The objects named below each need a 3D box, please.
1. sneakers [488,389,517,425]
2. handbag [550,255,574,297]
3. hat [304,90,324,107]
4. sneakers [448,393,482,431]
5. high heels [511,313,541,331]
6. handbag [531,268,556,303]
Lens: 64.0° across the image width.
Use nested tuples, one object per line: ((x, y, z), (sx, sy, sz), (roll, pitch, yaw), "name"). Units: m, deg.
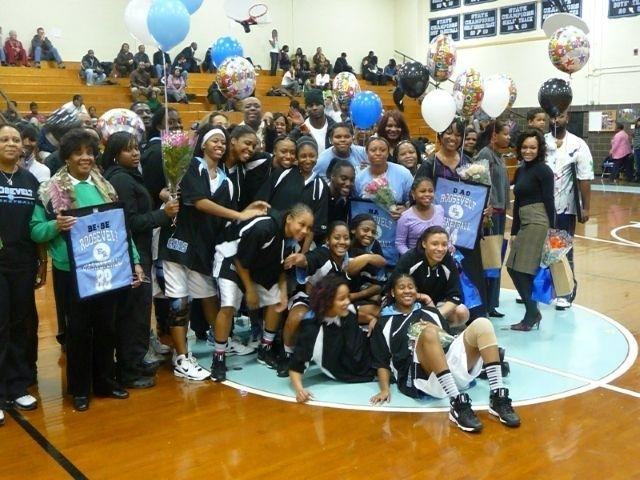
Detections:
((1.339, 1.200, 3.701), (0.134, 0.201, 0.368), (-1, 1, -7), "sneakers")
((2.533, 0.384, 5.351), (0.152, 0.441, 0.314), (-8, 21, 45), "handbag")
((-0.070, -1.597, 5.786), (0.196, 0.221, 0.270), (0, -6, -10), "hat")
((1.032, 1.224, 3.660), (0.163, 0.206, 0.425), (0, -2, -7), "sneakers")
((2.205, 0.852, 5.433), (0.283, 0.141, 0.169), (-7, 1, -5), "high heels")
((2.324, 0.463, 5.328), (0.151, 0.385, 0.336), (8, 2, 35), "handbag")
